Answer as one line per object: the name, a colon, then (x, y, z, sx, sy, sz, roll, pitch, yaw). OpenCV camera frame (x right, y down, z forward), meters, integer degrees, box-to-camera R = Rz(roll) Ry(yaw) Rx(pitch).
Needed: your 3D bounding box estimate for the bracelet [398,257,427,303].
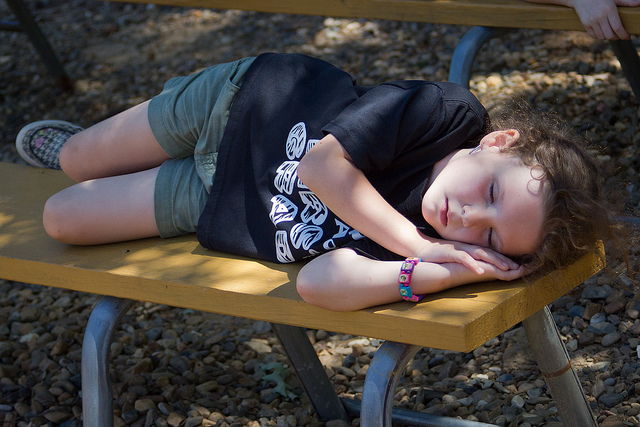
bracelet: (0.266, 0.206, 2.067, 0.083, 0.128, 0.131, 8, 96, 35)

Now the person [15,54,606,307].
person: (-0.049, -0.144, 2.368, 1.515, 1.037, 0.530, 15, 96, 13)
